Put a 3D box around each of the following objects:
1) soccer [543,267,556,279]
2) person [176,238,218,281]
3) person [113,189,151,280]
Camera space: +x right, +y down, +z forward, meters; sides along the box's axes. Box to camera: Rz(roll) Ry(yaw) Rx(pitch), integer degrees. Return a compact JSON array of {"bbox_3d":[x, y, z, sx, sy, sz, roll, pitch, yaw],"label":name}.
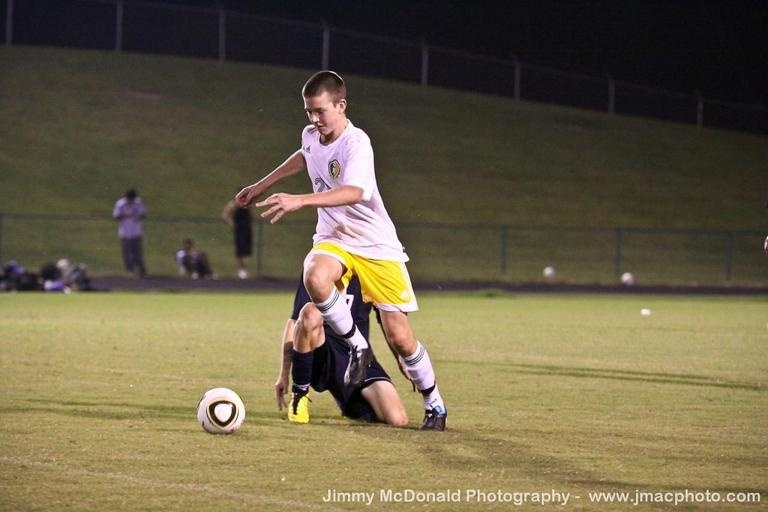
[{"bbox_3d":[5.563,0.599,41.816,0.357,0.190,0.354,5,23,21],"label":"soccer"},{"bbox_3d":[-5.962,0.291,39.190,0.931,0.679,1.499,-8,-29,-3],"label":"person"},{"bbox_3d":[-7.354,-0.717,36.125,0.838,2.524,1.036,2,0,-4],"label":"person"}]
